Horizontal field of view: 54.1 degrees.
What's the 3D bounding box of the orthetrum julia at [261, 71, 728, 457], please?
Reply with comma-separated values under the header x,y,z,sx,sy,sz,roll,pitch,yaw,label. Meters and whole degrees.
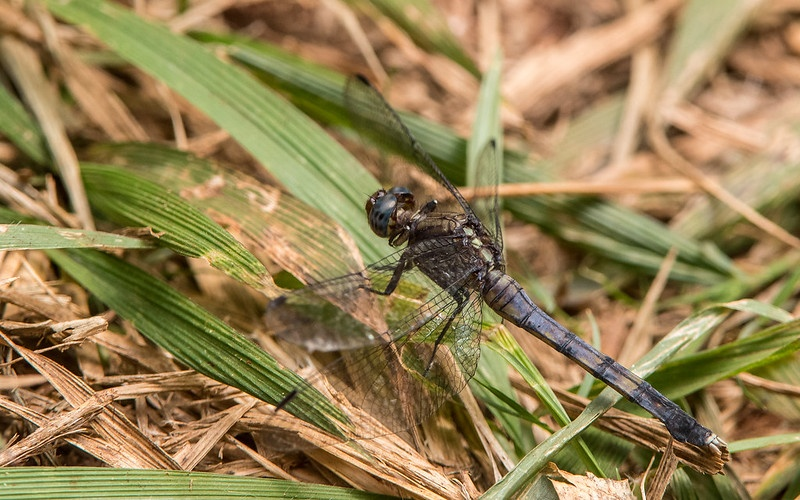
x,y,z,sx,sy,sz,roll,pitch,yaw,label
0.322,0.309,3.480,1.696,0.799,1.554,32,65,-9,orthetrum julia
